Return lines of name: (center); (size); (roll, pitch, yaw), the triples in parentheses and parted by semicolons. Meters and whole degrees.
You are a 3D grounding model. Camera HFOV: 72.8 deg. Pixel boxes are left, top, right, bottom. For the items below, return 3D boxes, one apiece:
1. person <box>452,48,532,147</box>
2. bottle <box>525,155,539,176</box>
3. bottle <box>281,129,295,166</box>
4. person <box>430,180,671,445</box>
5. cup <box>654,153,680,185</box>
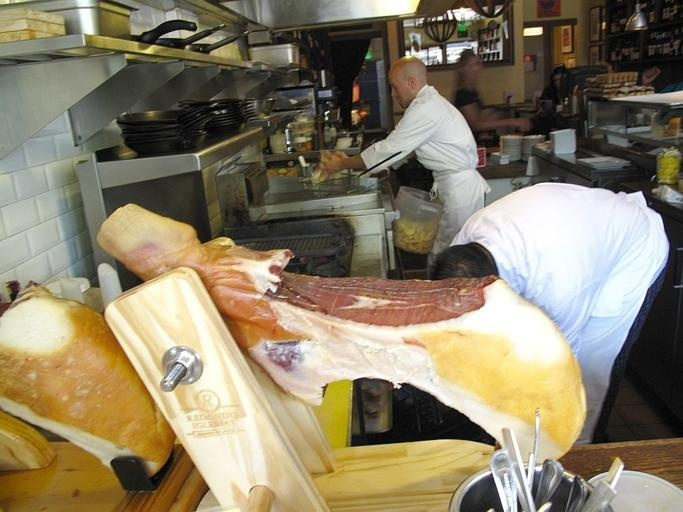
person: (1.616, -1.626, 5.149); (1.078, 1.093, 0.695); (-2, 12, -13)
bottle: (1.877, -0.883, 4.594); (0.134, 0.194, 0.126); (-3, 20, 1)
bottle: (-0.507, -1.065, 4.406); (0.136, 0.284, 0.324); (-6, 18, -5)
person: (0.762, 0.260, 1.723); (1.169, 1.061, 0.368); (-16, 24, -34)
cup: (2.048, -0.548, 2.895); (0.128, 0.191, 0.194); (9, 22, 32)
